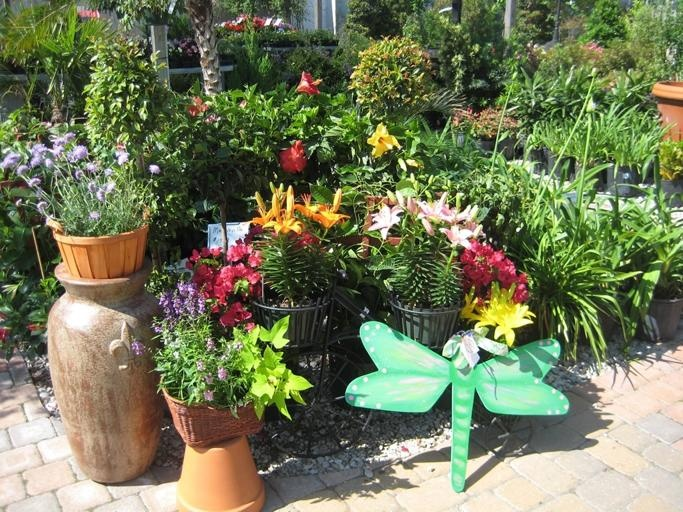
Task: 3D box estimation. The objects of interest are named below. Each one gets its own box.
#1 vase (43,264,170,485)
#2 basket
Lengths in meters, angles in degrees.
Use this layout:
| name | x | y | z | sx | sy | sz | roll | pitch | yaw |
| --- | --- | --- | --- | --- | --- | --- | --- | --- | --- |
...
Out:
| name | x | y | z | sx | sy | sz | roll | pitch | yaw |
| --- | --- | --- | --- | --- | --- | --- | --- | --- | --- |
| vase | -1.129 | 0.598 | 2.832 | 0.493 | 1.041 | 0.289 | -9 | 21 | -19 |
| basket | -0.604 | 0.718 | 2.653 | 0.354 | 0.173 | 0.274 | 5 | -3 | -35 |
